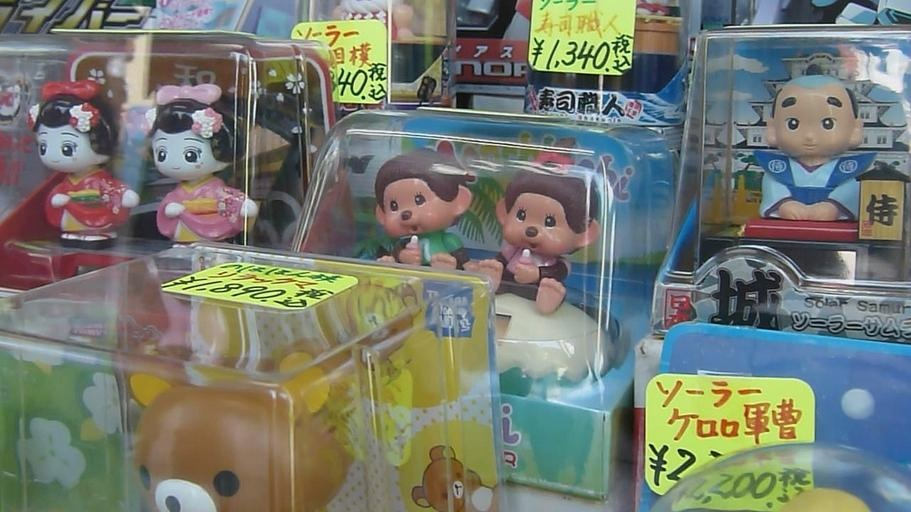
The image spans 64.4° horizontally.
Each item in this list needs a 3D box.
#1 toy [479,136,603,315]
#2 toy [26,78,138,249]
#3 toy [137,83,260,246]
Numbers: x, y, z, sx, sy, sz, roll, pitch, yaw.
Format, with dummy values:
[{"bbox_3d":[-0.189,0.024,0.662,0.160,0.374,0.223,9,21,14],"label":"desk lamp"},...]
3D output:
[{"bbox_3d":[0.175,-0.061,1.417,0.218,0.309,0.189,20,29,35],"label":"toy"},{"bbox_3d":[-0.800,-0.204,1.559,0.230,0.310,0.090,4,1,22],"label":"toy"},{"bbox_3d":[-0.527,-0.192,1.513,0.221,0.297,0.072,4,1,15],"label":"toy"}]
